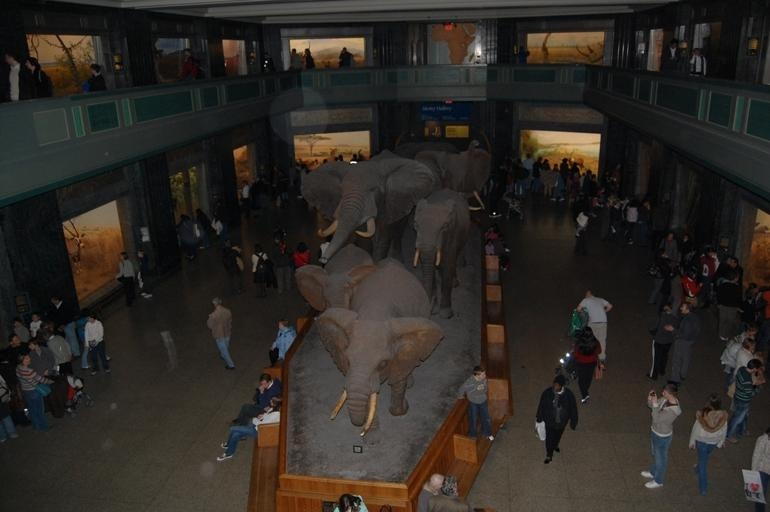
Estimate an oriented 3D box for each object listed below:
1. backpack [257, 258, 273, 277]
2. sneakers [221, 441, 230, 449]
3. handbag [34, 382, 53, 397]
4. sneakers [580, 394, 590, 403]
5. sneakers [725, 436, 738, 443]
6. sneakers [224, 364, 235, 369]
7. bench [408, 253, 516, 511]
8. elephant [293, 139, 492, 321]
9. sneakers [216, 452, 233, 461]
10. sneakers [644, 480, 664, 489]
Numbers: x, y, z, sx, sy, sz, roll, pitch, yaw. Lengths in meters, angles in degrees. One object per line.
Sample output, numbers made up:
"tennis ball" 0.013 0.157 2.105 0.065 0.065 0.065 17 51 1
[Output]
"backpack" -3.898 0.348 16.721 0.532 0.544 0.446 12 33 20
"sneakers" -3.554 4.230 11.449 0.119 0.140 0.351 4 -12 -12
"handbag" -7.789 3.065 11.768 0.199 0.307 0.312 3 54 5
"sneakers" 4.727 3.380 12.139 0.282 0.120 0.101 -33 15 -21
"sneakers" 7.387 3.929 10.970 0.277 0.117 0.122 7 15 -1
"sneakers" -4.185 2.995 13.884 0.111 0.133 0.294 -5 5 -36
"bench" 1.709 2.910 11.511 0.928 1.191 5.596 3 42 13
"elephant" 0.374 -1.312 15.717 3.450 3.491 7.139 12 19 41
"sneakers" -3.522 4.405 11.324 0.381 0.153 0.140 1 14 -12
"sneakers" 5.290 4.525 10.143 0.367 0.149 0.135 -4 60 13
